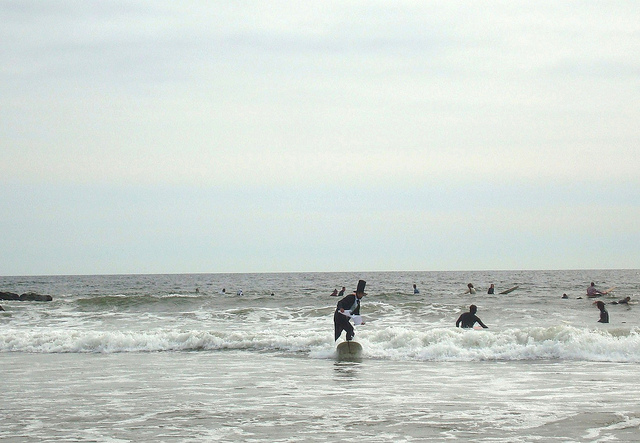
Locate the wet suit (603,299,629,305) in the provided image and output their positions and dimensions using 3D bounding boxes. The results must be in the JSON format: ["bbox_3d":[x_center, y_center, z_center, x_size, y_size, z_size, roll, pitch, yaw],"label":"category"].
[{"bbox_3d":[16.485,4.525,71.498,1.371,0.209,0.926,-1,-4,-20],"label":"wet suit"}]

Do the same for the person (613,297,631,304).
[{"bbox_3d":[16.887,4.398,71.578,0.769,0.318,1.326,-5,-4,32],"label":"person"}]

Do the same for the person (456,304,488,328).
[{"bbox_3d":[7.110,4.464,60.054,0.892,1.528,0.611,28,22,34],"label":"person"}]

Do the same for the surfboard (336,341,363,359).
[{"bbox_3d":[1.203,5.222,52.235,1.080,0.716,0.513,-3,-4,1],"label":"surfboard"}]
